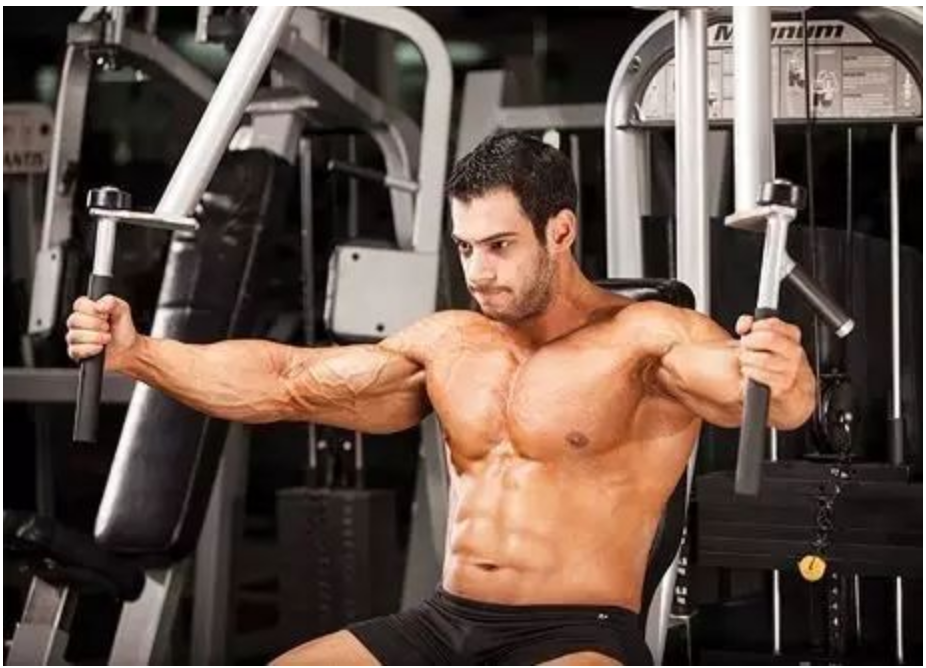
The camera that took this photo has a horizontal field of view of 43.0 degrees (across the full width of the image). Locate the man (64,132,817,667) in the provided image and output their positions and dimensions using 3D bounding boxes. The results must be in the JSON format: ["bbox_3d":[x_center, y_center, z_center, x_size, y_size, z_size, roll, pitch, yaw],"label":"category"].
[{"bbox_3d":[-0.014,0.150,2.896,1.370,1.309,0.368,2,1,11],"label":"man"}]

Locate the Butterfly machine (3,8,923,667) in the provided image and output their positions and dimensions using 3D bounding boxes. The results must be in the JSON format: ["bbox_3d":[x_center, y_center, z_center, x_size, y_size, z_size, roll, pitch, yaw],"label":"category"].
[{"bbox_3d":[0.217,0.004,3.859,1.824,2.161,1.804,0,-7,27],"label":"Butterfly machine"}]

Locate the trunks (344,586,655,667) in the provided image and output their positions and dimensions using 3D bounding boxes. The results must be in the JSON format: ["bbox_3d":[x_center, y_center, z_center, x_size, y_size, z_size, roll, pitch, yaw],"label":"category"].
[{"bbox_3d":[0.071,0.717,2.815,0.641,0.163,0.128,1,1,12],"label":"trunks"}]
